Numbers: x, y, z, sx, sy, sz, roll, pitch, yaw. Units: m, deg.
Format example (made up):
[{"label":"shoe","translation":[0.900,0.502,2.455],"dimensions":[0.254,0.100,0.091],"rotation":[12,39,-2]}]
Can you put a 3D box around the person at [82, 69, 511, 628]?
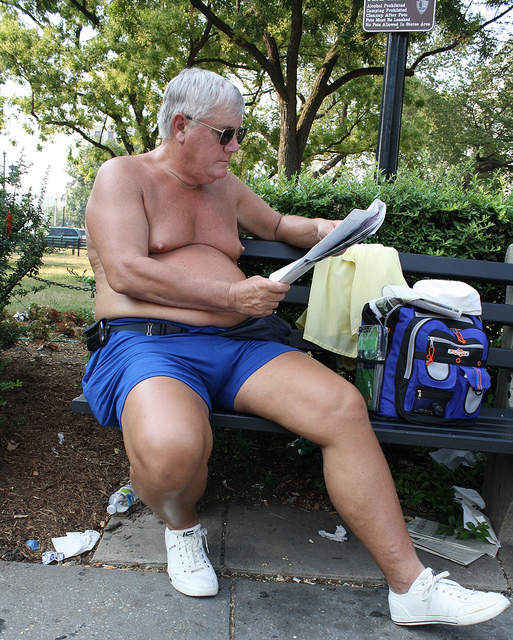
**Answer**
[{"label":"person","translation":[-0.060,-0.011,1.929],"dimensions":[0.813,1.726,1.355],"rotation":[2,11,-34]}]

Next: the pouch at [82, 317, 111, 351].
[{"label":"pouch","translation":[-0.569,0.056,2.064],"dimensions":[0.106,0.125,0.040],"rotation":[-13,-28,37]}]

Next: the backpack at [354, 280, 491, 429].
[{"label":"backpack","translation":[0.648,0.126,2.270],"dimensions":[0.489,0.509,0.503],"rotation":[8,10,3]}]

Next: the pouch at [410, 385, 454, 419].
[{"label":"pouch","translation":[0.646,0.296,2.070],"dimensions":[0.126,0.098,0.064],"rotation":[12,8,1]}]

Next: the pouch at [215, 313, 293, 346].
[{"label":"pouch","translation":[0.005,0.004,2.215],"dimensions":[0.216,0.142,0.397],"rotation":[7,7,43]}]

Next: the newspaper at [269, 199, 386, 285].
[{"label":"newspaper","translation":[0.284,-0.275,1.943],"dimensions":[0.197,0.329,0.474],"rotation":[16,12,37]}]

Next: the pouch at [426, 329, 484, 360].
[{"label":"pouch","translation":[0.720,0.087,2.122],"dimensions":[0.216,0.092,0.170],"rotation":[1,7,2]}]
